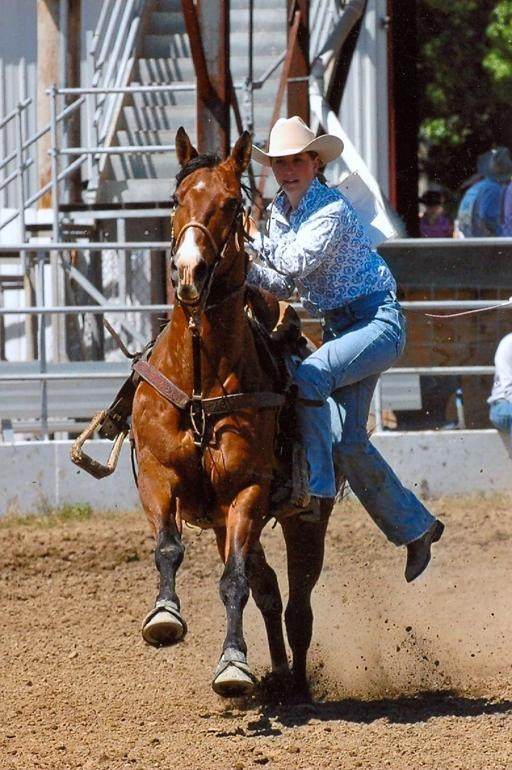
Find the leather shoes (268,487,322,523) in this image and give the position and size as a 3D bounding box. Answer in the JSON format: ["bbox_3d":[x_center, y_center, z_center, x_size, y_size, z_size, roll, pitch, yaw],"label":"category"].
[{"bbox_3d":[0.201,0.586,5.992,0.221,0.090,0.144,2,-9,-8],"label":"leather shoes"}]
